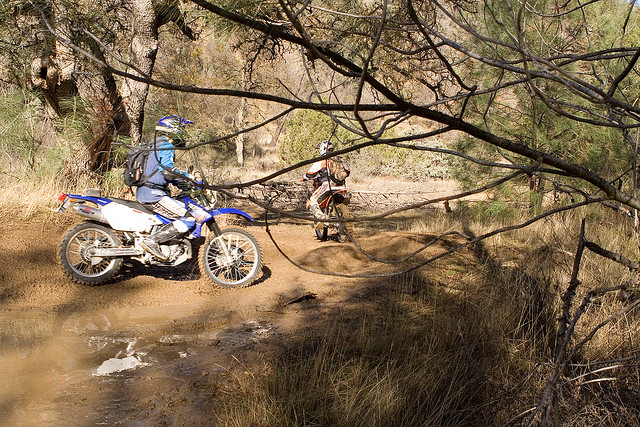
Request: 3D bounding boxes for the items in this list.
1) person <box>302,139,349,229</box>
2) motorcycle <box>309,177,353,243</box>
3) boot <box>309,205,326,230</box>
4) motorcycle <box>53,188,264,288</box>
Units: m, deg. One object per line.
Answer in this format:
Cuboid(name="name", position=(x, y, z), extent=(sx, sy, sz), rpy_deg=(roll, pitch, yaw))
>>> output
Cuboid(name="person", position=(0.218, -0.507, 11.199), extent=(0.957, 1.166, 1.761), rpy_deg=(-2, 16, -4))
Cuboid(name="motorcycle", position=(0.352, 0.044, 11.675), extent=(0.766, 0.941, 1.422), rpy_deg=(1, 4, -10))
Cuboid(name="boot", position=(-0.045, 0.112, 11.873), extent=(0.320, 0.491, 0.246), rpy_deg=(-6, -33, 9))
Cuboid(name="motorcycle", position=(-2.502, 0.271, 9.178), extent=(3.177, 1.937, 1.112), rpy_deg=(3, 0, -16))
